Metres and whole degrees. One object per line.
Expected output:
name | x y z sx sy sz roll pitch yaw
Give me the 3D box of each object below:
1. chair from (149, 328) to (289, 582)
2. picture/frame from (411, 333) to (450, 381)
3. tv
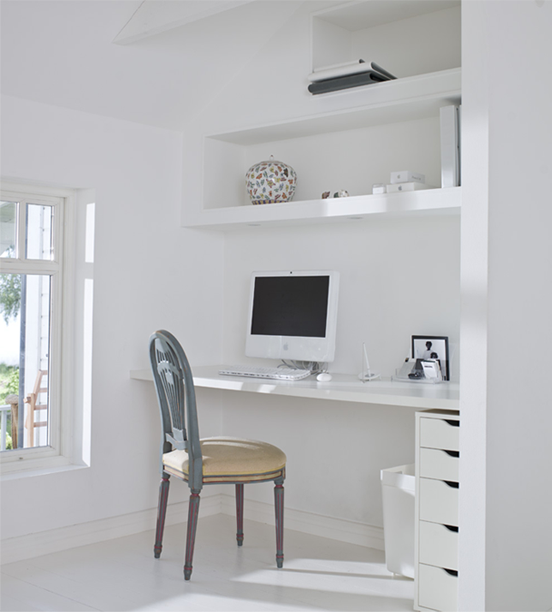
chair | -0.254 0.619 2.498 0.605 1.032 0.601 1 1 -4
picture/frame | 0.677 0.226 2.508 0.184 0.202 0.015 -13 -30 43
tv | 0.092 0.076 2.858 0.520 0.494 0.180 -2 -15 39
